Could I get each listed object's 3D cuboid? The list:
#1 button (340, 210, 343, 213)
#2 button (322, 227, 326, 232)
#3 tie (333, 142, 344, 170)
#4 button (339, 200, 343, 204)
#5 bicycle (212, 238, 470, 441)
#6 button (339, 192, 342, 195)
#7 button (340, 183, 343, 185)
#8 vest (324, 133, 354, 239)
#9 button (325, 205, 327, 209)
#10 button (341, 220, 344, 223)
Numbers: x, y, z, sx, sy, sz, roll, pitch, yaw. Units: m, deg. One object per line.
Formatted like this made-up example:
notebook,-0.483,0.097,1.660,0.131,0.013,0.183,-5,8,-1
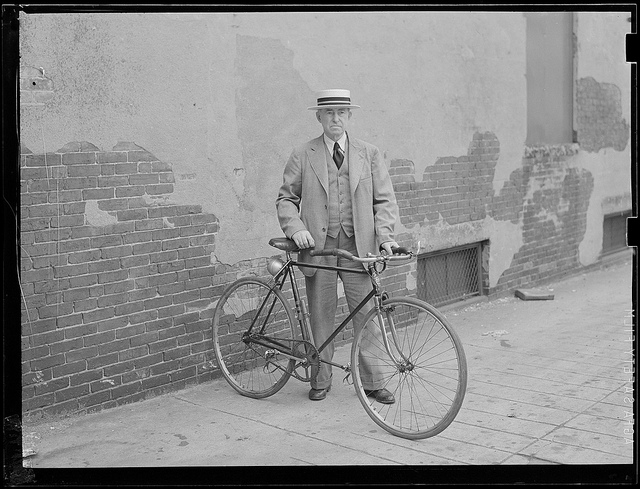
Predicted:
button,0.178,-0.279,6.260,0.021,0.021,0.005,1,12,7
button,0.035,-0.125,6.275,0.028,0.029,0.027,18,8,13
tie,0.152,-0.747,6.281,0.085,0.210,0.042,1,12,10
button,0.177,-0.360,6.260,0.030,0.030,0.007,1,-3,1
bicycle,0.035,0.706,6.226,2.482,1.494,0.625,8,10,32
button,0.171,-0.432,6.269,0.018,0.018,0.004,2,12,4
button,0.178,-0.504,6.271,0.021,0.020,0.007,2,12,13
vest,0.160,-0.480,6.297,0.212,0.814,0.229,-2,12,-4
button,0.051,-0.314,6.271,0.008,0.035,0.033,1,-4,-44
button,0.189,-0.195,6.259,0.021,0.020,0.008,0,12,1
